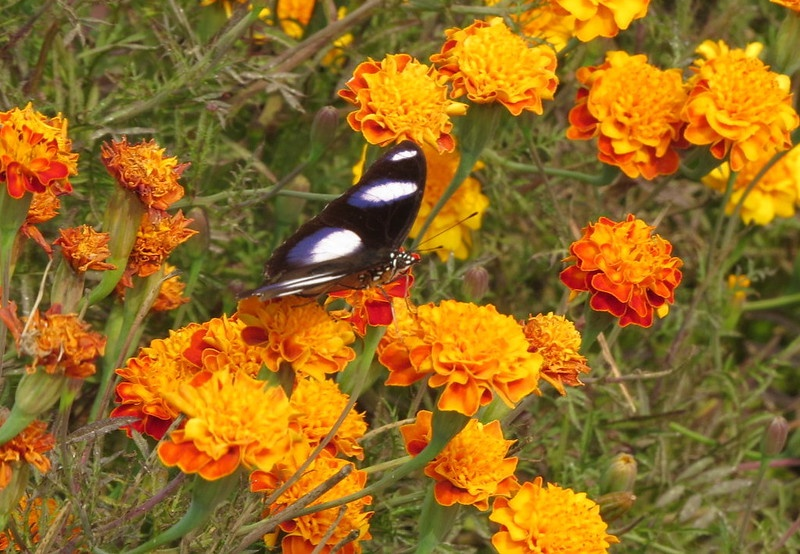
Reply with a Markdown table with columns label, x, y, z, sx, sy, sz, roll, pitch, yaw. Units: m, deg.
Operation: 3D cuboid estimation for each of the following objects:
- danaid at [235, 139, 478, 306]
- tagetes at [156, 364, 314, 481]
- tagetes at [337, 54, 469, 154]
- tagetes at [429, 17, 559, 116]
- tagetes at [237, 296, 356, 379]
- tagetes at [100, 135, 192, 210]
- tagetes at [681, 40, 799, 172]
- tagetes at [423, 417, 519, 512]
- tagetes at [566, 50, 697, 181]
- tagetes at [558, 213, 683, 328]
| label | x | y | z | sx | sy | sz | roll | pitch | yaw |
| --- | --- | --- | --- | --- | --- | --- | --- | --- | --- |
| danaid | -0.079 | -0.074 | 1.350 | 0.289 | 0.277 | 0.113 | -20 | 95 | -21 |
| tagetes | -0.244 | 0.211 | 1.149 | 0.178 | 0.082 | 0.152 | 6 | 74 | -3 |
| tagetes | 0.011 | -0.325 | 1.492 | 0.222 | 0.068 | 0.191 | 8 | 74 | -2 |
| tagetes | 0.186 | -0.359 | 1.569 | 0.215 | 0.118 | 0.205 | 10 | 35 | -32 |
| tagetes | -0.159 | 0.096 | 1.301 | 0.143 | 0.141 | 0.068 | 30 | 90 | -35 |
| tagetes | -0.469 | -0.158 | 1.446 | 0.141 | 0.131 | 0.063 | 32 | 103 | -25 |
| tagetes | 0.662 | -0.332 | 1.614 | 0.261 | 0.154 | 0.251 | -10 | 72 | -26 |
| tagetes | 0.132 | 0.354 | 1.409 | 0.117 | 0.119 | 0.065 | 18 | 96 | -21 |
| tagetes | 0.481 | -0.333 | 1.656 | 0.249 | 0.123 | 0.269 | 13 | 74 | -1 |
| tagetes | 0.417 | -0.019 | 1.530 | 0.226 | 0.215 | 0.158 | 19 | 74 | -10 |
